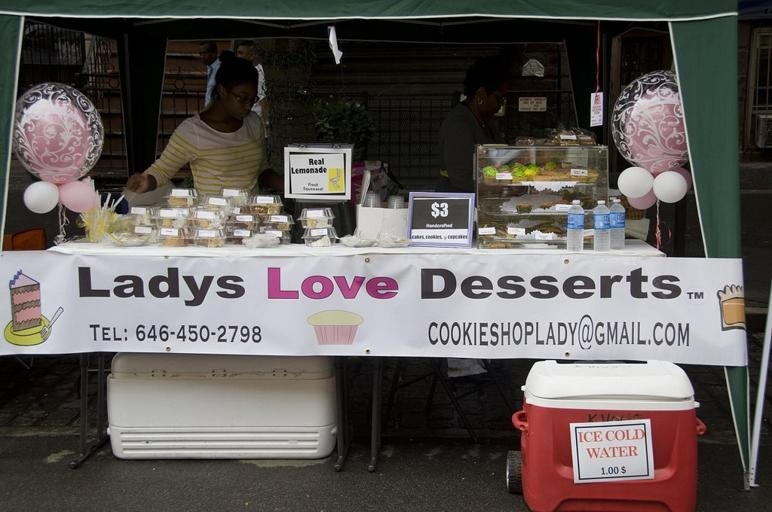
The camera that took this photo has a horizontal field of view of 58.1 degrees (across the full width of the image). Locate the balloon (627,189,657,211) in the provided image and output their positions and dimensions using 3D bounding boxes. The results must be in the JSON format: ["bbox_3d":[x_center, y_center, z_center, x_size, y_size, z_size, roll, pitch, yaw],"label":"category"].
[{"bbox_3d":[1.943,-0.430,5.312,0.180,0.153,0.151,-6,10,-26],"label":"balloon"}]

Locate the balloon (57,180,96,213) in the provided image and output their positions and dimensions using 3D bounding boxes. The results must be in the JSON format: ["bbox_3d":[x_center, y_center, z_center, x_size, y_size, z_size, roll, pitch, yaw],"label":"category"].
[{"bbox_3d":[-2.371,-0.455,5.399,0.259,0.253,0.340,-3,5,1],"label":"balloon"}]

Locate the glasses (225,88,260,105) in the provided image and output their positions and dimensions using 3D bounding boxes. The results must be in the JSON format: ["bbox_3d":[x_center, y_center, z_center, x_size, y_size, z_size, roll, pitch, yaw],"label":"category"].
[{"bbox_3d":[-1.142,-1.320,5.818,0.185,0.126,0.298,6,12,27],"label":"glasses"}]

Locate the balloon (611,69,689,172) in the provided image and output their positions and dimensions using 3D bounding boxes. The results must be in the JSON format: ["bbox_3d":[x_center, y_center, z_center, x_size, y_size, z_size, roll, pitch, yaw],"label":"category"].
[{"bbox_3d":[1.909,-0.935,5.160,0.485,0.766,0.483,1,-4,5],"label":"balloon"}]

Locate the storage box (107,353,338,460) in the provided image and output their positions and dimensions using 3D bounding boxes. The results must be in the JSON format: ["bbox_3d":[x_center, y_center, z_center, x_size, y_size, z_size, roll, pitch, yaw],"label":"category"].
[{"bbox_3d":[-1.280,1.041,5.792,1.802,0.855,1.369,0,11,-12],"label":"storage box"}]

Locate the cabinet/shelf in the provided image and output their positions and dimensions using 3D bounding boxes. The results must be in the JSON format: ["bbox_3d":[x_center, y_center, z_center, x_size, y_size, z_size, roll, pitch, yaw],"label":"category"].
[{"bbox_3d":[1.149,-0.454,5.404,0.988,0.776,0.536,-1,7,-3],"label":"cabinet/shelf"}]

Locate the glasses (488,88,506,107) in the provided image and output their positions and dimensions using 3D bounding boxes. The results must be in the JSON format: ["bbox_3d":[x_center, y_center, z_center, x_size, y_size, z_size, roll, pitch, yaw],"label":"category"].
[{"bbox_3d":[1.052,-1.496,6.570,0.137,0.180,0.136,-2,-4,3],"label":"glasses"}]

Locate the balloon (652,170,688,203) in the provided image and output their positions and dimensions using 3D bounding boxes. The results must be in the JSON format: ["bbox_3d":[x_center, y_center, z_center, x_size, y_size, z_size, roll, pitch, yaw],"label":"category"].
[{"bbox_3d":[2.109,-0.508,5.138,0.287,0.239,0.233,0,11,1],"label":"balloon"}]

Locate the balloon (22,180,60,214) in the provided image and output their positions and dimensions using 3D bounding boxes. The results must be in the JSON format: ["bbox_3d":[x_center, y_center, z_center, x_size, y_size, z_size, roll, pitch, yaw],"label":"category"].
[{"bbox_3d":[-2.564,-0.438,5.296,0.276,0.237,0.241,-1,23,46],"label":"balloon"}]

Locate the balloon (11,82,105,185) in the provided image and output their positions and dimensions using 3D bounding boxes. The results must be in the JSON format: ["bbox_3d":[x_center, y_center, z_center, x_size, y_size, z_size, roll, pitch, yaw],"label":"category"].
[{"bbox_3d":[-2.423,-0.898,5.166,0.611,0.751,0.303,-6,12,-26],"label":"balloon"}]
